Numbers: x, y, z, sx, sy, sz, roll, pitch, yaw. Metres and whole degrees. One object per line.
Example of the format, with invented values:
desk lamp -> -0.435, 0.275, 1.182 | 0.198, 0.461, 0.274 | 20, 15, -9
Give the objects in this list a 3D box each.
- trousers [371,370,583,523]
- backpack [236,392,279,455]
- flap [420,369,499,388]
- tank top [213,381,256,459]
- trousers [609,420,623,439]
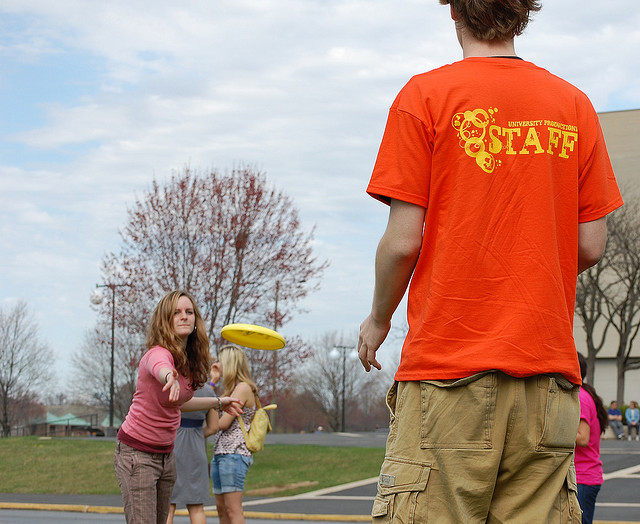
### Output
trousers -> 0.727, 0.875, 4.826 | 0.991, 0.706, 0.338 | -5, -11, 8
backpack -> -0.616, 1.615, 10.355 | 0.350, 0.570, 0.452 | 6, -4, -2
flap -> 0.654, 0.530, 4.748 | 0.208, 0.048, 0.115 | -8, -4, -5
tank top -> -0.835, 1.570, 10.334 | 0.422, 0.725, 0.543 | 4, -10, -11
trousers -> 10.052, 5.679, 35.194 | 0.407, 0.627, 0.867 | -7, -11, 15
